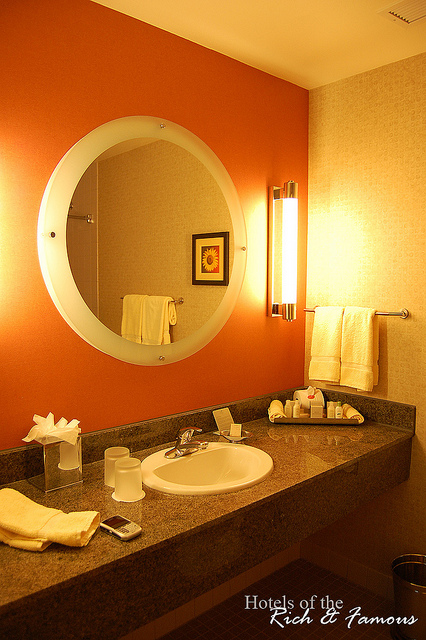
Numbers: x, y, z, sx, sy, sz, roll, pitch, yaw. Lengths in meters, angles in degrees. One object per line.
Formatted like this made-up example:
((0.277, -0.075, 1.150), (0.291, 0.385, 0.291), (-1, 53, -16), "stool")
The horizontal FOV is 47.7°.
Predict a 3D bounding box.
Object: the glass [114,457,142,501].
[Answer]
((-0.204, 0.418, 1.277), (0.084, 0.094, 0.090), (0, -1, 3), "glass")

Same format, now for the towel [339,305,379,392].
((0.615, 0.119, 2.053), (0.160, 0.345, 0.098), (0, 2, 21), "towel")

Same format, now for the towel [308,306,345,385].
((0.507, 0.113, 2.157), (0.088, 0.319, 0.192), (9, -3, -40), "towel")

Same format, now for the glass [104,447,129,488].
((-0.284, 0.406, 1.357), (0.088, 0.102, 0.088), (0, 1, -22), "glass")

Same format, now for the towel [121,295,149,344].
((-0.265, -0.003, 1.609), (0.017, 0.162, 0.092), (1, 2, 36), "towel")

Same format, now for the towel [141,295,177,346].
((-0.193, -0.002, 1.683), (0.064, 0.192, 0.144), (-9, 12, -42), "towel")
